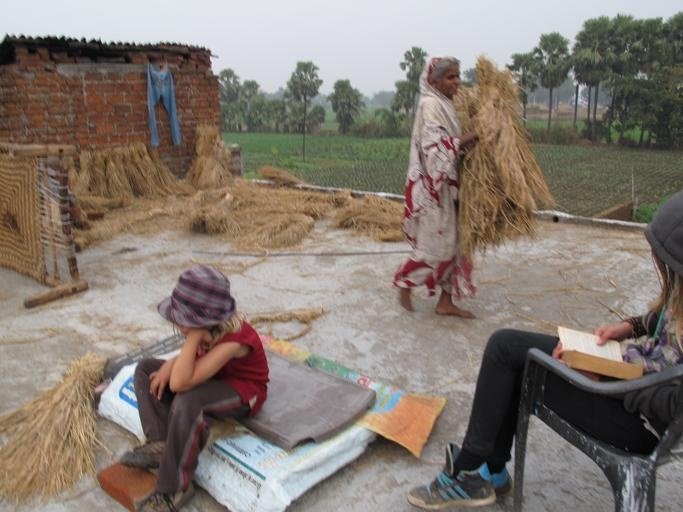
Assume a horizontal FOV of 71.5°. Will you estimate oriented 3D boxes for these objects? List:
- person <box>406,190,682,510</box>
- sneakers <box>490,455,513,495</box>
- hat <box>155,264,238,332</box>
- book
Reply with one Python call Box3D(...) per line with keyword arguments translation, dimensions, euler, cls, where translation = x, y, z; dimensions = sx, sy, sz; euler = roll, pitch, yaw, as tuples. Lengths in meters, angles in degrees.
Box3D(translation=(1.073, 0.304, 2.865), dimensions=(1.301, 2.282, 0.865), euler=(14, 20, 27), cls="person")
Box3D(translation=(0.771, 1.067, 2.343), dimensions=(0.068, 0.152, 0.206), euler=(-1, 18, 14), cls="sneakers")
Box3D(translation=(-0.686, 0.199, 2.288), dimensions=(0.286, 0.190, 0.304), euler=(-9, 26, -39), cls="hat")
Box3D(translation=(1.055, 0.412, 1.996), dimensions=(0.193, 0.059, 0.203), euler=(16, 13, -22), cls="book")
